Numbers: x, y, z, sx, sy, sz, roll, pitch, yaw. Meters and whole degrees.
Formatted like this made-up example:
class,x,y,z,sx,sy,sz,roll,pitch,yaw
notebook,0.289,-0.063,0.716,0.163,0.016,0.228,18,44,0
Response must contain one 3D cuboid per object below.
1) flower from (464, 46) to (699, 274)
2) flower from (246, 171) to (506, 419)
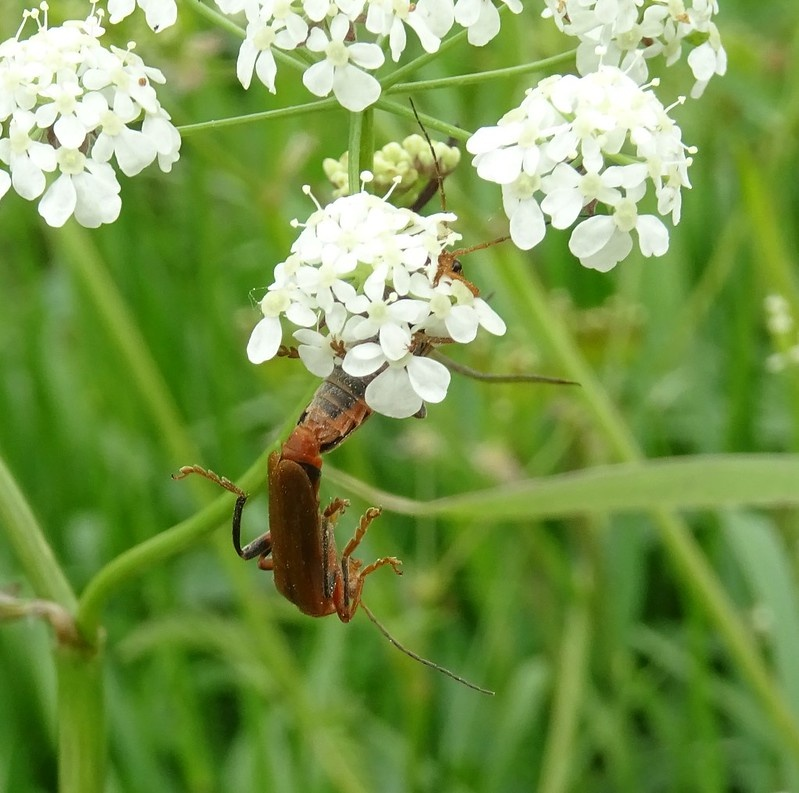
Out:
class,x,y,z,sx,sy,sz,roll,pitch,yaw
flower,0.297,-0.372,1.709,0.323,0.376,0.140,6,-15,-9
flower,-0.051,-0.155,1.694,0.394,0.396,0.122,-44,0,-12
